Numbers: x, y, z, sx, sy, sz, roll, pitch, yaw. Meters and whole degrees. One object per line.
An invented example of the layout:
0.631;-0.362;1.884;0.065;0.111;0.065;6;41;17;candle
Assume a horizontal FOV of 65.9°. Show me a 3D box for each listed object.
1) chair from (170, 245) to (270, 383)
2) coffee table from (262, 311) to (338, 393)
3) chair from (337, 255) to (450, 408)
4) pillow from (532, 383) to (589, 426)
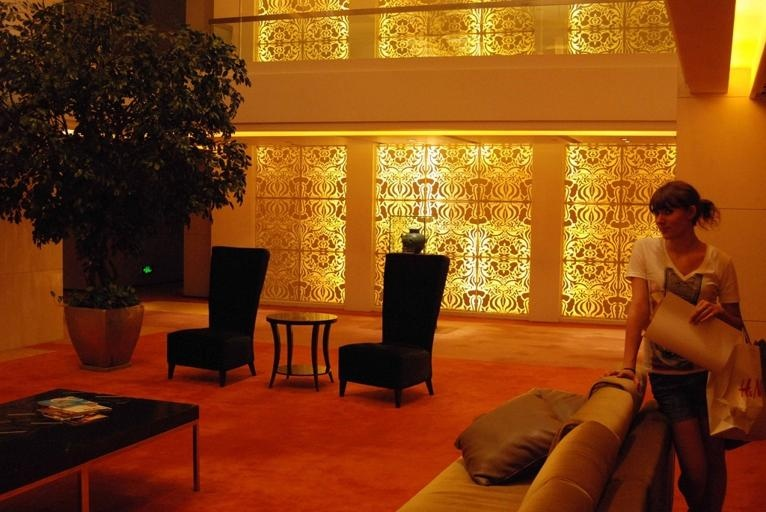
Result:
-1.936;0.660;6.994;0.850;1.538;0.661;4;3;24;chair
-0.989;1.127;7.201;0.865;0.838;0.960;-1;-3;20;coffee table
0.119;0.764;6.447;1.061;1.609;0.723;4;3;8;chair
1.121;0.918;3.691;0.243;0.068;0.233;-11;14;-44;pillow
